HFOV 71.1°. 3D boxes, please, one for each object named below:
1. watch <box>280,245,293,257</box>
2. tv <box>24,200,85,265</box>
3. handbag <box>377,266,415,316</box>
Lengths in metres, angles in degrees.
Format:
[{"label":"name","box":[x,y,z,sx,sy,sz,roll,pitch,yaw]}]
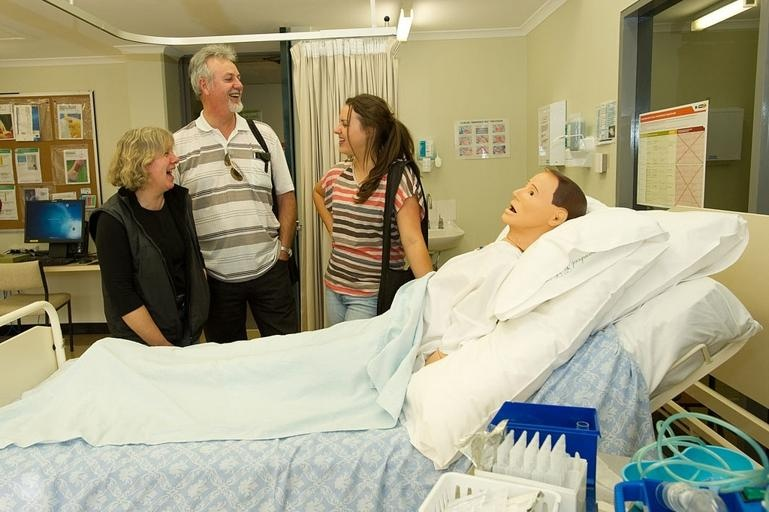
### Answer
[{"label":"watch","box":[-0.598,-0.027,3.274,0.061,0.026,0.045,16,-2,31]},{"label":"tv","box":[-3.026,-0.217,4.937,0.507,0.561,0.189,-2,-14,-4]},{"label":"handbag","box":[0.047,0.183,2.713,0.203,0.304,0.104,5,11,9]}]
